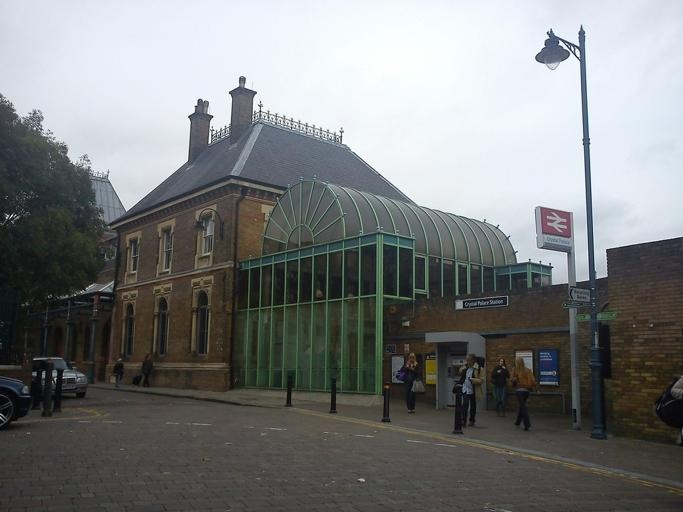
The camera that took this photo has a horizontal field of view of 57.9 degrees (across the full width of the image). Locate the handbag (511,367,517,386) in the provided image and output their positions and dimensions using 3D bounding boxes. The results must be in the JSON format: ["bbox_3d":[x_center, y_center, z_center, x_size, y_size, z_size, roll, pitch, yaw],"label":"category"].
[{"bbox_3d":[4.904,3.463,17.593,0.103,0.368,0.257,0,-4,8],"label":"handbag"}]

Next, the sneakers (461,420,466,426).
[{"bbox_3d":[3.486,4.758,17.626,0.114,0.169,0.155,-12,-16,36],"label":"sneakers"}]

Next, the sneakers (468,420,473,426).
[{"bbox_3d":[3.659,4.731,17.518,0.161,0.119,0.155,3,-8,-37],"label":"sneakers"}]

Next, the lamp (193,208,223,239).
[{"bbox_3d":[-7.266,-1.758,34.669,0.459,2.075,2.708,9,-16,-35],"label":"lamp"}]

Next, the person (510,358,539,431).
[{"bbox_3d":[5.161,3.889,17.543,0.598,2.009,1.411,-3,-13,17],"label":"person"}]

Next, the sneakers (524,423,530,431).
[{"bbox_3d":[5.027,4.676,16.827,0.136,0.144,0.130,6,-11,-33],"label":"sneakers"}]

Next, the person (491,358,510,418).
[{"bbox_3d":[5.428,4.516,21.189,0.541,1.856,0.981,-2,-13,13],"label":"person"}]

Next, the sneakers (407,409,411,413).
[{"bbox_3d":[2.369,5.401,21.500,0.054,0.118,0.163,11,19,33],"label":"sneakers"}]
